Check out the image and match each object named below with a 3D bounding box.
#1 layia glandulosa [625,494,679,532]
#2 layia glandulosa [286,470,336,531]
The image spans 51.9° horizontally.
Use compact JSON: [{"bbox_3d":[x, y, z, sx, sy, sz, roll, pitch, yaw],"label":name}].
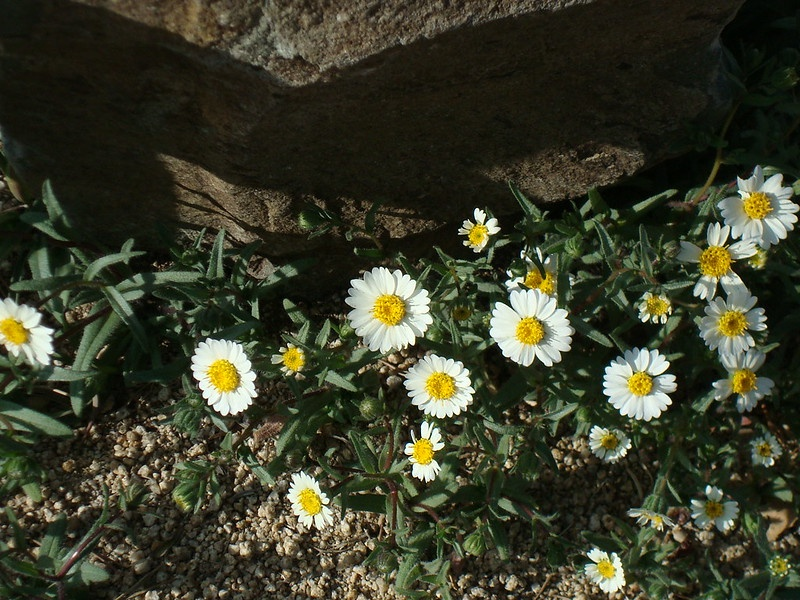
[{"bbox_3d":[0.997,0.876,3.230,0.192,0.199,0.065,-1,33,45],"label":"layia glandulosa"},{"bbox_3d":[-0.308,0.785,3.164,0.052,0.223,0.216,-21,5,-40],"label":"layia glandulosa"}]
